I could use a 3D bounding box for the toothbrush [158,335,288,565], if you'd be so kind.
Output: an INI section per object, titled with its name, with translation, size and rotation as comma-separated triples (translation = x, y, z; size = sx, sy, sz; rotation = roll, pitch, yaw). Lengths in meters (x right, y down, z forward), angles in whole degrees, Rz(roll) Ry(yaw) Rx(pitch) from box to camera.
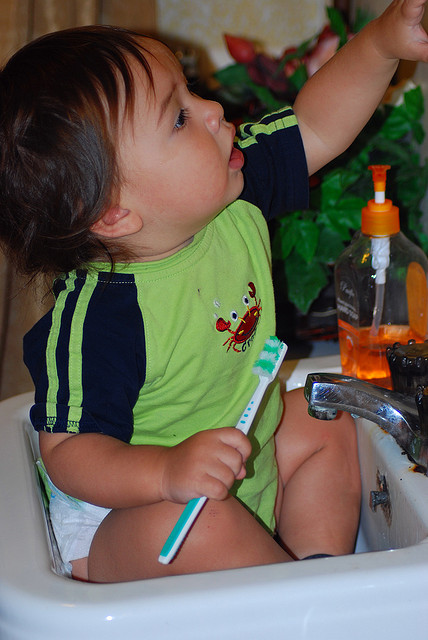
[toothbrush]
translation = 0.005, 0.127, 0.592
size = 0.037, 0.031, 0.285
rotation = 10, 67, 45
